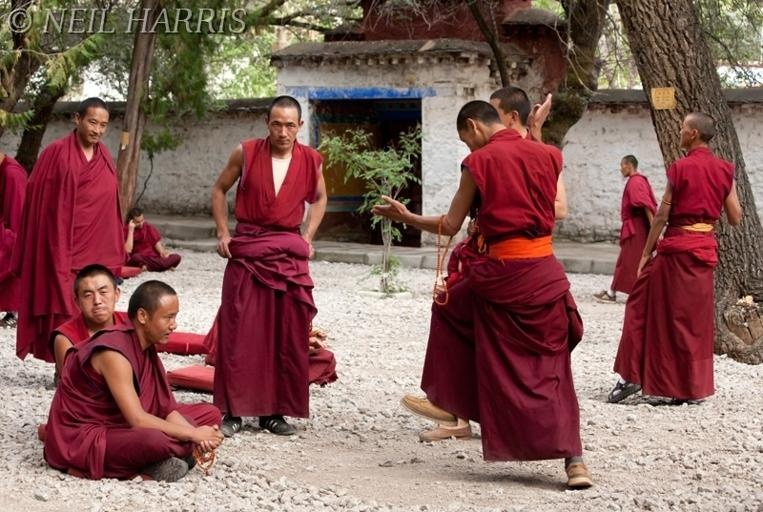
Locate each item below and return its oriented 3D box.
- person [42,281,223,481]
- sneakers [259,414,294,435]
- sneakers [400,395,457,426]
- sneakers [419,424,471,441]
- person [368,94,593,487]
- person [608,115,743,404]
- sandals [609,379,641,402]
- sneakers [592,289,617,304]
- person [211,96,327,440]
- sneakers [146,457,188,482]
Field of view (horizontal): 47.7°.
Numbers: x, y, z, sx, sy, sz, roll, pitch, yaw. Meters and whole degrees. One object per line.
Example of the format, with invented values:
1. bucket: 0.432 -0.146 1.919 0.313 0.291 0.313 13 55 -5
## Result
1. person: -1.439 0.751 5.098 1.055 1.122 0.997 5 3 -16
2. sneakers: -0.716 1.128 5.828 0.291 0.128 0.098 0 10 37
3. sneakers: 0.302 0.993 5.594 0.393 0.170 0.141 23 3 -4
4. sneakers: 0.415 1.147 5.626 0.372 0.142 0.123 2 2 5
5. person: 0.725 0.203 5.140 1.156 2.215 0.533 4 11 13
6. person: 2.269 0.032 6.574 0.985 2.153 0.792 0 -4 22
7. sandals: 1.813 1.024 6.488 0.325 0.121 0.112 -10 10 1
8. sneakers: 2.630 0.491 10.177 0.282 0.118 0.116 5 6 21
9. person: -0.763 0.145 5.721 0.712 1.810 0.507 0 10 -9
10. sneakers: -1.237 1.241 4.968 0.202 0.094 0.145 0 4 -4
